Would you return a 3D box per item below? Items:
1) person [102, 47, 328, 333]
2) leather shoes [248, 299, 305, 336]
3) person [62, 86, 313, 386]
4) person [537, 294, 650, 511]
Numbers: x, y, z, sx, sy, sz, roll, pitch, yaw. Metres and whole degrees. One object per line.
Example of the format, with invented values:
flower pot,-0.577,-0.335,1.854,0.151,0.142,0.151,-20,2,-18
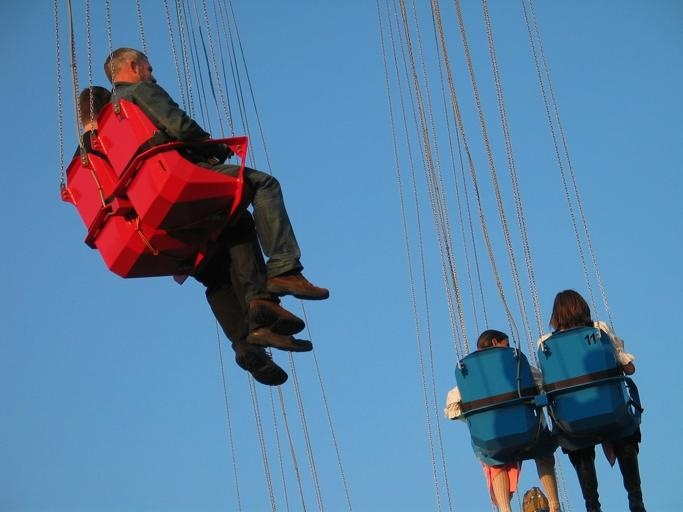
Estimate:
person,-0.914,-0.498,9.317,1.032,2.064,0.842,-1,-36,-39
leather shoes,-0.428,0.375,9.050,0.338,0.202,0.143,-3,-29,-6
person,-0.851,-0.474,9.274,1.078,2.064,0.970,-6,-30,-26
person,1.744,1.029,9.542,0.599,1.696,1.086,-10,-30,8
